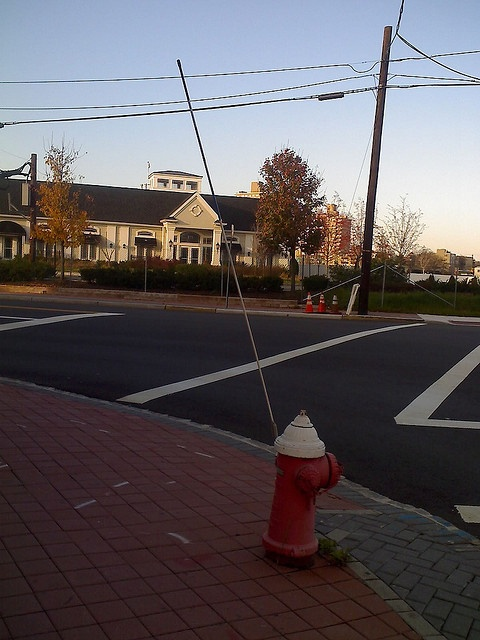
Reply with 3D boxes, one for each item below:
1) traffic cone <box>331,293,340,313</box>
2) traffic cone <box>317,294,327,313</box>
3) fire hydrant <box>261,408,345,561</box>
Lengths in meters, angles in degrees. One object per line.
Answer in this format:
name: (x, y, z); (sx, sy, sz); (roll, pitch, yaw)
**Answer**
traffic cone: (3.620, -0.583, 21.598); (0.264, 0.689, 1.015); (6, 1, 10)
traffic cone: (3.121, -0.602, 21.671); (0.290, 0.655, 1.210); (5, 1, 8)
fire hydrant: (0.353, 0.883, 3.076); (0.404, 0.785, 0.266); (5, 1, -5)
